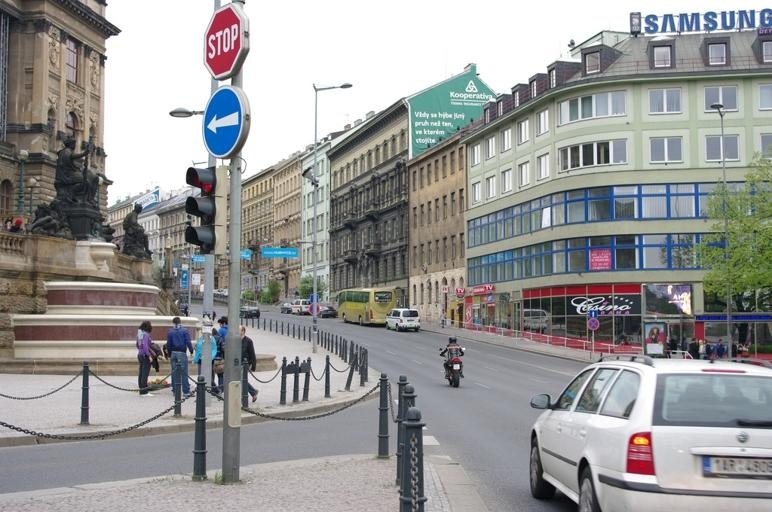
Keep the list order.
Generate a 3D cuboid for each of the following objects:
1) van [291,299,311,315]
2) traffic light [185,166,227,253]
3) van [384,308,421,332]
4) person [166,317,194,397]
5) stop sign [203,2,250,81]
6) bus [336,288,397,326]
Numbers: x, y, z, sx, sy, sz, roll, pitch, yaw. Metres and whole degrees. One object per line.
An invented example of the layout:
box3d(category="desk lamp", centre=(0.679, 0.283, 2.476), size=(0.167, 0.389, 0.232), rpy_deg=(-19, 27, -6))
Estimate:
box3d(category="van", centre=(-8.087, 4.961, 101.787), size=(1.133, 1.104, 2.378), rpy_deg=(0, 3, -21))
box3d(category="traffic light", centre=(-3.871, -1.013, 22.609), size=(0.877, 1.985, 1.003), rpy_deg=(1, -6, -11))
box3d(category="van", centre=(1.241, 4.615, 76.868), size=(1.298, 1.187, 2.395), rpy_deg=(2, 2, -19))
box3d(category="person", centre=(-6.476, 2.943, 33.032), size=(0.962, 2.975, 1.325), rpy_deg=(0, -1, -23))
box3d(category="stop sign", centre=(-3.417, -4.547, 22.451), size=(0.546, 1.587, 1.243), rpy_deg=(5, -7, -40))
box3d(category="bus", centre=(-1.493, 3.960, 83.606), size=(2.000, 2.278, 5.628), rpy_deg=(2, 0, -26))
